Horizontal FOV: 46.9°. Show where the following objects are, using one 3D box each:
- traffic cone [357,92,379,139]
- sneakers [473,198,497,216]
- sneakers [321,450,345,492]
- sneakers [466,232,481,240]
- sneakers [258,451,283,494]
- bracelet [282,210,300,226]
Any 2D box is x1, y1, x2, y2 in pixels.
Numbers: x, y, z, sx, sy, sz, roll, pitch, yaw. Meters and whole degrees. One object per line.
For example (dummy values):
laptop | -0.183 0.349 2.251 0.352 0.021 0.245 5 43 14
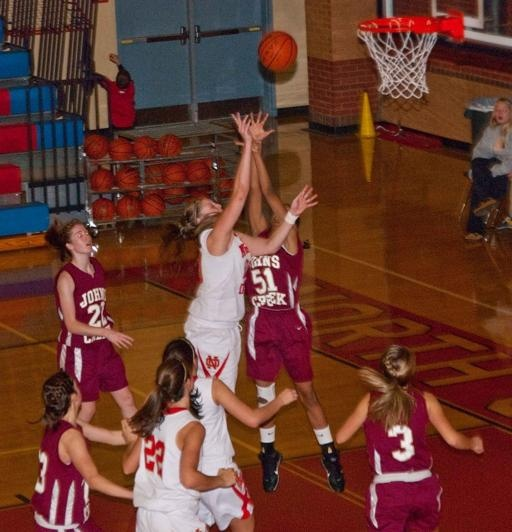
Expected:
traffic cone | 2.726 -3.673 14.362 0.410 1.173 0.860 2 10 8
sneakers | 3.254 -0.829 8.364 0.356 0.145 0.139 -25 30 20
sneakers | 0.482 1.277 3.737 0.109 0.279 0.129 -17 -5 -8
sneakers | 3.190 -0.440 8.666 0.147 0.054 0.132 1 16 4
sneakers | 0.094 1.294 3.759 0.101 0.253 0.204 1 -5 27
bracelet | 0.176 -0.266 3.272 0.086 0.073 0.082 25 17 25
